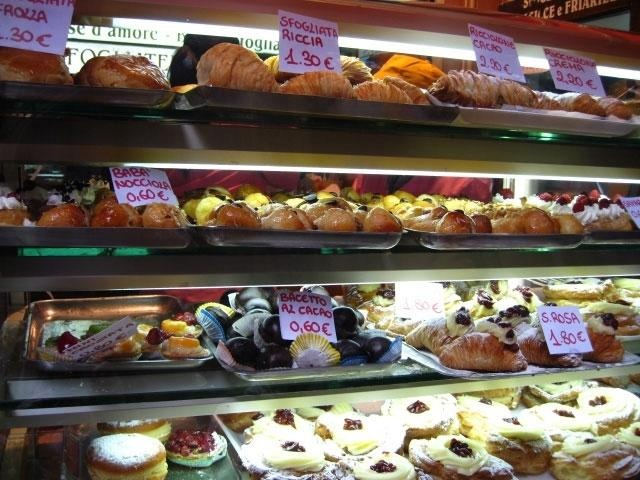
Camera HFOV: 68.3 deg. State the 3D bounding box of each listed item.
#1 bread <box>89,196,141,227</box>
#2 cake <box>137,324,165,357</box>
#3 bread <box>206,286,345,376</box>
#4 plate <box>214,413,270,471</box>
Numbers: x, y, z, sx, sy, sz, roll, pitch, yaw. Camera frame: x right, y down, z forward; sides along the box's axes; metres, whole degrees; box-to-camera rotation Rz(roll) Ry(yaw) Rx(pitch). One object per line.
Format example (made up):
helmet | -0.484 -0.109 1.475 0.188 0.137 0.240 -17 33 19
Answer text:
bread | -0.579 -0.072 1.322 0.116 0.049 0.097 6 22 -4
cake | -0.591 0.356 1.644 0.100 0.046 0.106 -12 62 -14
bread | -0.107 0.295 1.543 0.395 0.101 0.297 -1 21 -11
plate | -0.326 0.801 1.891 0.162 0.026 0.200 0 36 -31
